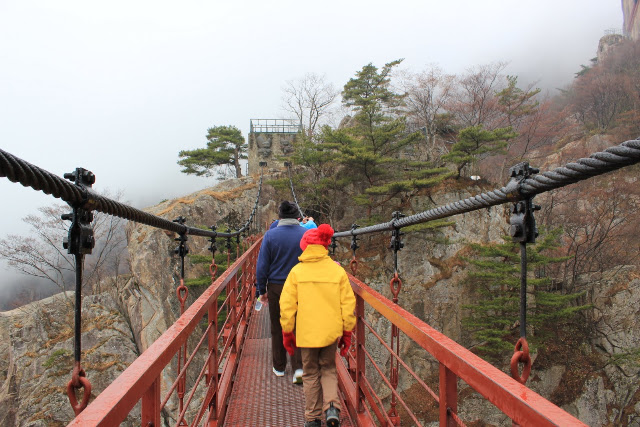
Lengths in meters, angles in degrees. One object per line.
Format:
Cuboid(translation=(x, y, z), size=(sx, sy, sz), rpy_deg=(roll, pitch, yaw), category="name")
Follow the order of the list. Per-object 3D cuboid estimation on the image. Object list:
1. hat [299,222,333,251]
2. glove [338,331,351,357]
Cuboid(translation=(-0.061, 0.807, 19.006), size=(0.766, 0.640, 1.081), rpy_deg=(8, -9, -30), category="hat")
Cuboid(translation=(0.940, 4.557, 18.907), size=(0.209, 0.785, 0.541), rpy_deg=(14, -21, -30), category="glove")
